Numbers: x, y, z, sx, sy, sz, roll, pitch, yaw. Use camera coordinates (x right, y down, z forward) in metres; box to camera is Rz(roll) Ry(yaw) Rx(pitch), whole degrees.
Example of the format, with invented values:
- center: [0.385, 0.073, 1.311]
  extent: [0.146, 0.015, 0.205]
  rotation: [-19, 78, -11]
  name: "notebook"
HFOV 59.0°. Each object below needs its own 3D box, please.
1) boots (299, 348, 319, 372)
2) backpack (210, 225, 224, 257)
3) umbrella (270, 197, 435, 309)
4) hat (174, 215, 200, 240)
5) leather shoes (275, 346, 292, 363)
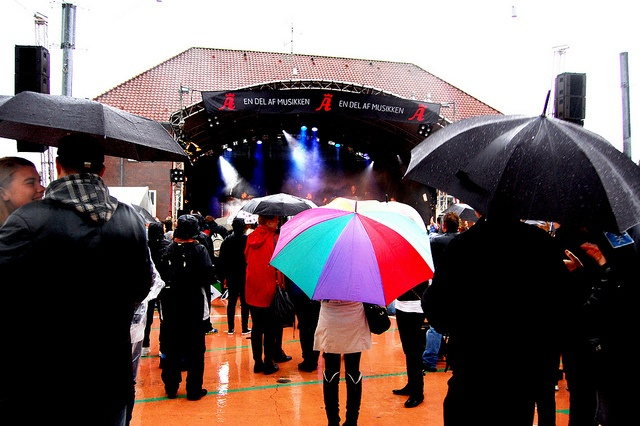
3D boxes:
- center: [-0.156, 2.105, 8.037]
  extent: [0.336, 0.370, 0.241]
  rotation: [10, -11, -16]
  name: "boots"
- center: [-2.267, 0.633, 12.618]
  extent: [0.142, 0.574, 0.592]
  rotation: [5, 2, -33]
  name: "backpack"
- center: [0.335, 0.409, 5.707]
  extent: [1.586, 0.911, 0.754]
  rotation: [0, 4, 9]
  name: "umbrella"
- center: [-1.720, 0.187, 7.338]
  extent: [0.259, 0.316, 0.331]
  rotation: [0, -4, -10]
  name: "hat"
- center: [-0.531, 2.131, 8.488]
  extent: [0.359, 0.246, 0.133]
  rotation: [-1, 3, -39]
  name: "leather shoes"
